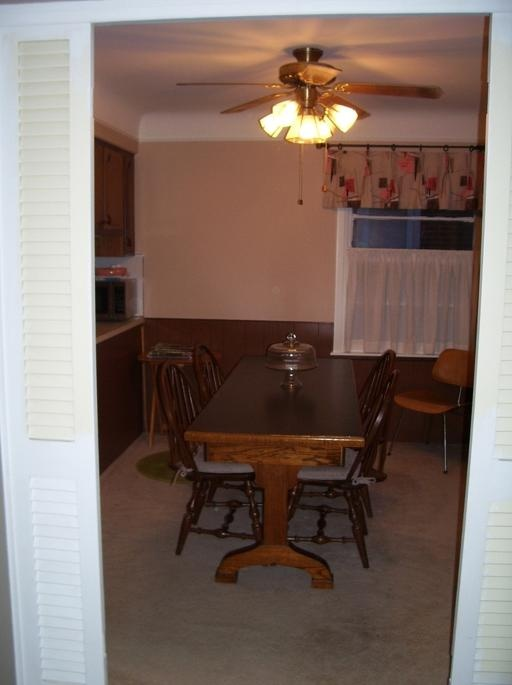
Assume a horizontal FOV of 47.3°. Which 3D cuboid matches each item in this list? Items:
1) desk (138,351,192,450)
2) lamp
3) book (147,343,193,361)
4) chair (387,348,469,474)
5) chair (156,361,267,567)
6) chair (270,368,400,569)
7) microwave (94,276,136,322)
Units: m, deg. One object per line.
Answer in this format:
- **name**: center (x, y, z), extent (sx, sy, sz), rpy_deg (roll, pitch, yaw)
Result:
- **desk**: center (-0.645, 0.342, 4.308), extent (0.325, 0.464, 0.312), rpy_deg (0, -4, -12)
- **lamp**: center (0.209, -0.938, 2.469), extent (0.348, 0.117, 0.334), rpy_deg (2, -6, -31)
- **book**: center (-0.621, 0.070, 4.278), extent (0.336, 0.086, 0.234), rpy_deg (2, 7, 7)
- **chair**: center (1.218, 0.440, 4.182), extent (0.524, 0.784, 0.733), rpy_deg (3, 7, 17)
- **chair**: center (-0.192, 0.567, 2.794), extent (0.489, 0.733, 0.430), rpy_deg (0, -3, 3)
- **chair**: center (0.323, 0.563, 3.211), extent (0.800, 1.339, 0.770), rpy_deg (2, 5, 10)
- **microwave**: center (-1.080, -0.312, 4.344), extent (0.343, 0.285, 0.275), rpy_deg (2, 3, 21)
